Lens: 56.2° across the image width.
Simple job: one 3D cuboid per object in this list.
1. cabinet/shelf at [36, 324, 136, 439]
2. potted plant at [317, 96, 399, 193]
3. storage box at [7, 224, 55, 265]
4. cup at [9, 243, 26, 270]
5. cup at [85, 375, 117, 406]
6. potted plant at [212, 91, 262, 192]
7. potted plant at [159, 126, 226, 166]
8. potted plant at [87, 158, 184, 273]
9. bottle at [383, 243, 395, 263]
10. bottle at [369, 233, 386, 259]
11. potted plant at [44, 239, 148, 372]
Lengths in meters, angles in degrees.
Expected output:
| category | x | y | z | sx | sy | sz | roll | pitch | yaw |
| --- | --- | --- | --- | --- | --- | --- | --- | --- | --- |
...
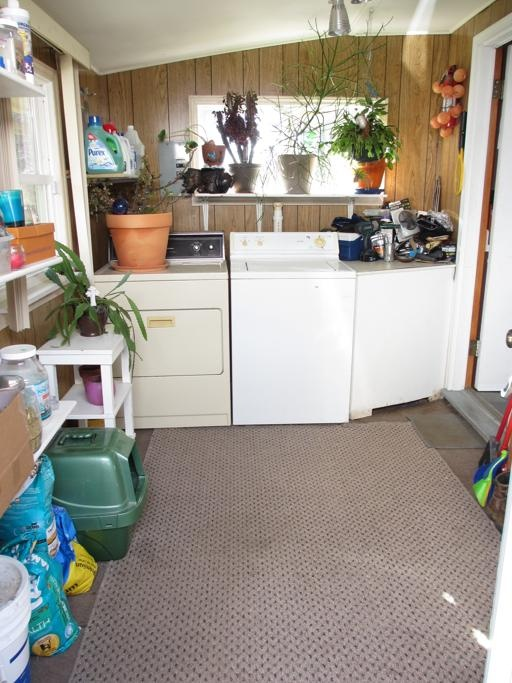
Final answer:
| category | x | y | z | sx | sy | sz | roll | pitch | yaw |
| --- | --- | --- | --- | --- | --- | --- | --- | --- | --- |
| cabinet/shelf | -0.668 | 0.149 | 1.871 | 0.190 | 0.390 | 0.412 | -1 | 23 | -6 |
| potted plant | 0.669 | -1.245 | 3.031 | 0.381 | 0.599 | 0.353 | -5 | 12 | -24 |
| storage box | -0.548 | -0.246 | 1.187 | 0.119 | 0.078 | 0.122 | -10 | 23 | -20 |
| cup | -0.517 | -0.182 | 1.038 | 0.039 | 0.051 | 0.042 | 4 | 9 | -1 |
| cup | -0.648 | 0.204 | 2.020 | 0.106 | 0.101 | 0.121 | 6 | 20 | 15 |
| potted plant | -0.114 | -1.213 | 2.916 | 0.260 | 0.601 | 0.250 | 0 | 11 | 0 |
| potted plant | -0.356 | -1.227 | 3.017 | 0.448 | 0.268 | 0.245 | 5 | 26 | 3 |
| potted plant | -0.642 | -0.697 | 2.593 | 0.389 | 0.590 | 0.306 | 0 | 10 | -10 |
| bottle | 0.808 | -0.534 | 2.903 | 0.063 | 0.112 | 0.186 | 3 | 12 | 15 |
| bottle | 0.739 | -0.579 | 2.923 | 0.077 | 0.154 | 0.084 | 0 | 11 | 0 |
| potted plant | -0.664 | -0.162 | 2.082 | 0.407 | 0.392 | 0.304 | 0 | 14 | -34 |
